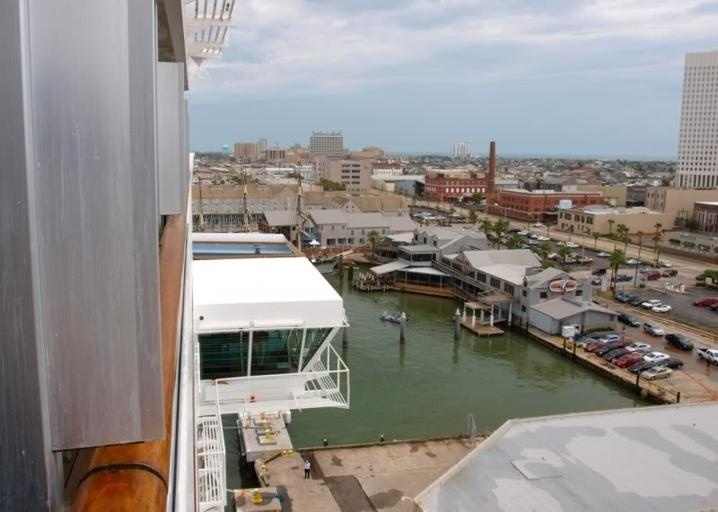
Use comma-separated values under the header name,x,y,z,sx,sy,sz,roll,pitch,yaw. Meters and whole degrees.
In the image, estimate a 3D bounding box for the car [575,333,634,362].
name,x,y,z,sx,sy,sz,roll,pitch,yaw
car,10.457,3.918,21.991,2.174,0.628,0.916,1,6,-26

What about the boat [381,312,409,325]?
name,x,y,z,sx,sy,sz,roll,pitch,yaw
boat,1.862,3.097,26.612,1.271,0.557,0.794,2,5,38
